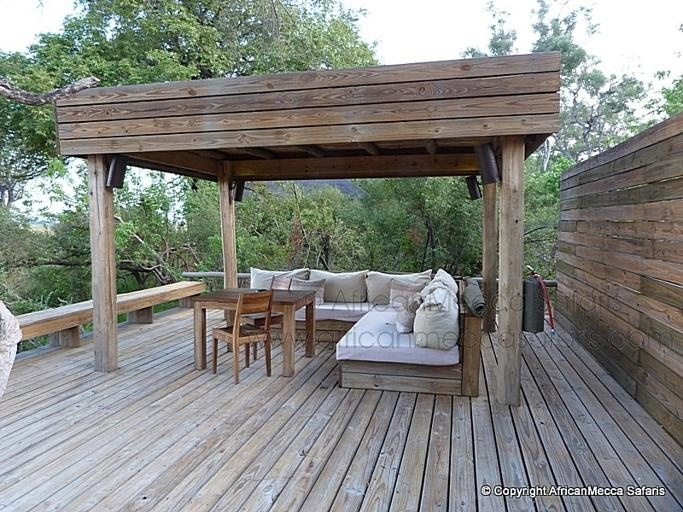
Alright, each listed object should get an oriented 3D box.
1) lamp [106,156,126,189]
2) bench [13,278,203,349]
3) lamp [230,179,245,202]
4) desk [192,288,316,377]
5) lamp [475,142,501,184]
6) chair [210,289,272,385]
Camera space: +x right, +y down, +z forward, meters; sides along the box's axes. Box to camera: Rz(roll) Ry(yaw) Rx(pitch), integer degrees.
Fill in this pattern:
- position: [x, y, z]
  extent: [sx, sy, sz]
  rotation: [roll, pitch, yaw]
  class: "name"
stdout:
- position: [-2.772, -1.016, 5.271]
  extent: [0.237, 0.390, 0.126]
  rotation: [-5, 10, -26]
  class: "lamp"
- position: [-3.673, 0.936, 7.015]
  extent: [0.862, 0.679, 3.266]
  rotation: [2, 7, 20]
  class: "bench"
- position: [-1.812, -1.153, 7.544]
  extent: [0.200, 0.332, 0.327]
  rotation: [2, 8, 16]
  class: "lamp"
- position: [-1.117, 0.739, 5.365]
  extent: [0.984, 1.434, 0.948]
  rotation: [-3, 5, -38]
  class: "desk"
- position: [1.568, -1.001, 4.669]
  extent: [0.259, 0.435, 0.378]
  rotation: [2, 8, 18]
  class: "lamp"
- position: [-1.220, 0.853, 5.233]
  extent: [0.680, 1.101, 0.717]
  rotation: [1, 8, -34]
  class: "chair"
